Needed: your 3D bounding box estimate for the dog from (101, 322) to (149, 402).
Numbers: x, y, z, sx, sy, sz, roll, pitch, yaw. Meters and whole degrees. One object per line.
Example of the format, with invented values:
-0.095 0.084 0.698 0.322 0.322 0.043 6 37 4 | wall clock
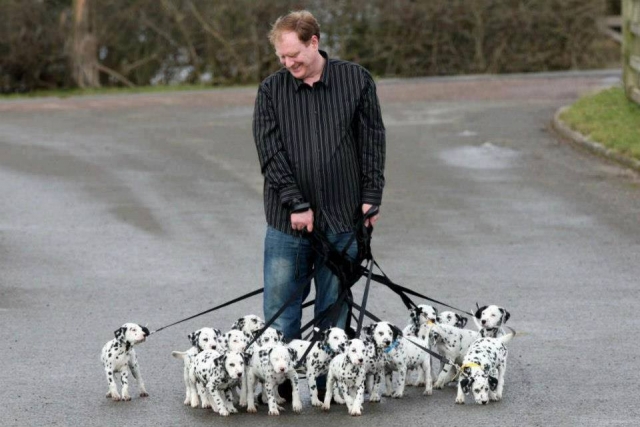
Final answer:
-2.577 1.980 14.764 0.457 0.969 1.213 -4 -9 -33 | dog
